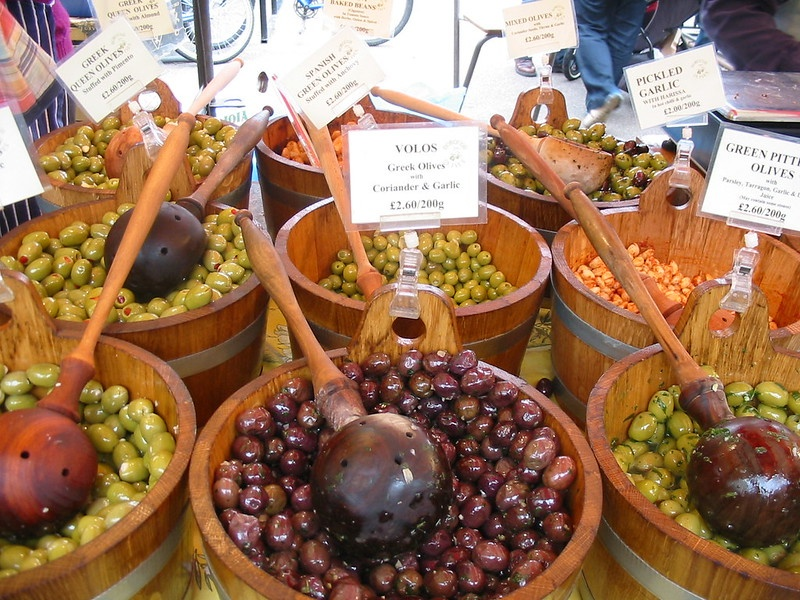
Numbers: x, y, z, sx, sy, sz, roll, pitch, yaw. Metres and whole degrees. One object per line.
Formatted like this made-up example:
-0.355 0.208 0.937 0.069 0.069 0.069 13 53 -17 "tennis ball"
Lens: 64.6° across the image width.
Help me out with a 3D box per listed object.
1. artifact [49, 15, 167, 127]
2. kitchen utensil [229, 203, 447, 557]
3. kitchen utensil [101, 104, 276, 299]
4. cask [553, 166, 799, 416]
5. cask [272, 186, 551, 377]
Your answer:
-1.113 -0.897 2.464 0.234 0.080 0.327 -25 58 -25 "artifact"
-0.240 0.161 1.825 0.352 0.348 1.152 -19 60 -25 "kitchen utensil"
-0.738 -0.412 2.415 0.287 0.289 1.027 21 57 11 "kitchen utensil"
1.025 0.030 2.657 0.804 1.035 1.035 -1 39 1 "cask"
0.108 0.108 2.477 0.743 0.642 0.841 -1 34 -3 "cask"
